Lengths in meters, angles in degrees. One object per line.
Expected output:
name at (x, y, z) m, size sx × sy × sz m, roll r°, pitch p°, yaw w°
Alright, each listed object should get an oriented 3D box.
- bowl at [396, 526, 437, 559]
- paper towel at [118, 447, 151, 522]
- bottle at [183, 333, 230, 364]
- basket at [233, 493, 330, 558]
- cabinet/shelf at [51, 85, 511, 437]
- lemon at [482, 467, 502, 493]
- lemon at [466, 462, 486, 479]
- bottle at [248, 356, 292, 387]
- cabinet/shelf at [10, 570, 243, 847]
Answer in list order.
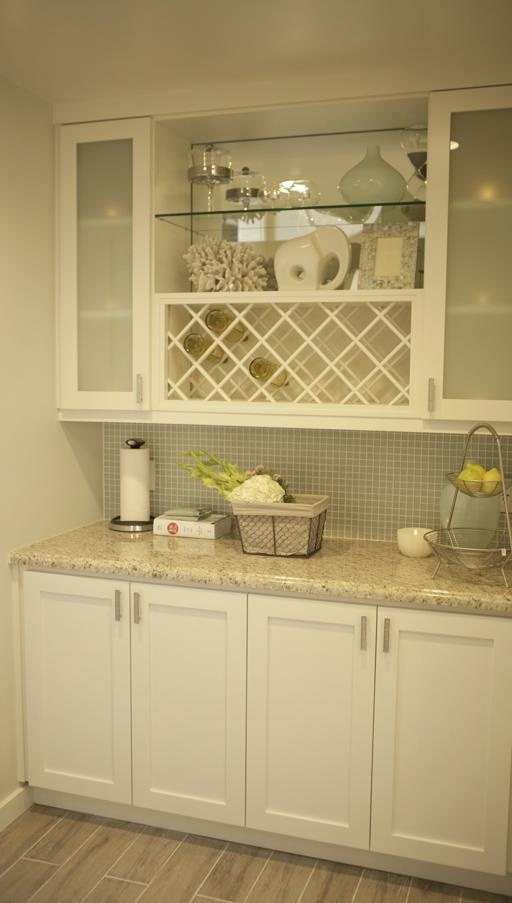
bowl at (0.483, 0.275, 2.122) m, size 0.081 × 0.066 × 0.096 m, roll 2°, pitch -9°, yaw 2°
paper towel at (-0.440, 0.120, 2.534) m, size 0.104 × 0.259 × 0.080 m, roll -1°, pitch 4°, yaw -14°
bottle at (-0.167, -0.340, 2.298) m, size 0.080 × 0.045 × 0.081 m, roll 44°, pitch -5°, yaw 5°
basket at (0.064, 0.215, 2.239) m, size 0.225 × 0.213 × 0.338 m, roll 1°, pitch 7°, yaw 7°
cabinet/shelf at (0.059, -0.580, 2.267) m, size 1.454 × 1.002 × 0.437 m, roll 1°, pitch 4°, yaw 23°
lemon at (0.638, 0.083, 1.908) m, size 0.045 × 0.069 × 0.099 m, roll 1°, pitch 5°, yaw 19°
lemon at (0.611, 0.054, 1.957) m, size 0.044 × 0.070 × 0.048 m, roll -1°, pitch 1°, yaw 5°
bottle at (0.044, -0.256, 2.250) m, size 0.056 × 0.080 × 0.245 m, roll 8°, pitch -10°, yaw 14°
cabinet/shelf at (-0.363, 0.745, 2.081) m, size 0.698 × 0.756 × 0.286 m, roll 1°, pitch 4°, yaw 14°
